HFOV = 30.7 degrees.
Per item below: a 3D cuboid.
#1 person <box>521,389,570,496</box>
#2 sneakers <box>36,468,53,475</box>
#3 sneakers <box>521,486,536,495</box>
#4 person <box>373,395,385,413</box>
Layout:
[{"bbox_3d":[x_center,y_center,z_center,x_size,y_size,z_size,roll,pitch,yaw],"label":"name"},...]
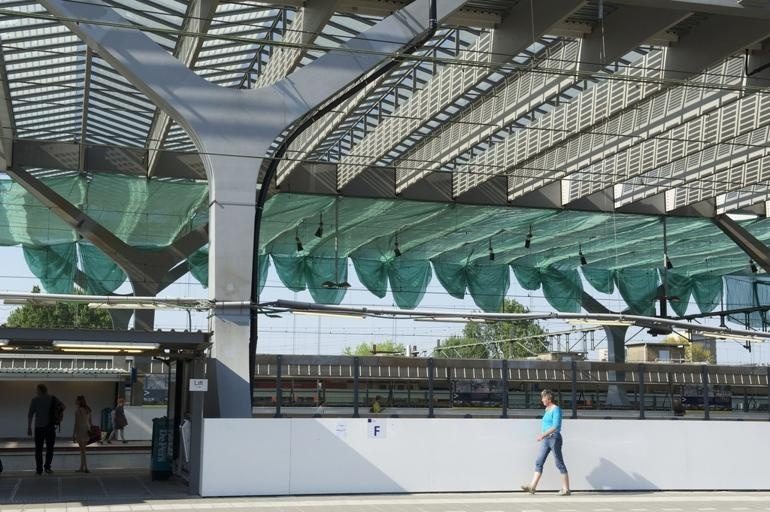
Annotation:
[{"bbox_3d":[4.806,5.441,41.143,1.302,3.066,1.067,0,-11,2],"label":"person"},{"bbox_3d":[-10.339,6.548,42.634,0.557,0.243,0.169,-5,-2,-16],"label":"sneakers"},{"bbox_3d":[4.237,6.845,41.112,0.472,0.203,0.159,14,-1,27],"label":"sneakers"},{"bbox_3d":[-0.223,5.972,56.493,0.260,0.708,0.372,-13,27,-23],"label":"person"}]
